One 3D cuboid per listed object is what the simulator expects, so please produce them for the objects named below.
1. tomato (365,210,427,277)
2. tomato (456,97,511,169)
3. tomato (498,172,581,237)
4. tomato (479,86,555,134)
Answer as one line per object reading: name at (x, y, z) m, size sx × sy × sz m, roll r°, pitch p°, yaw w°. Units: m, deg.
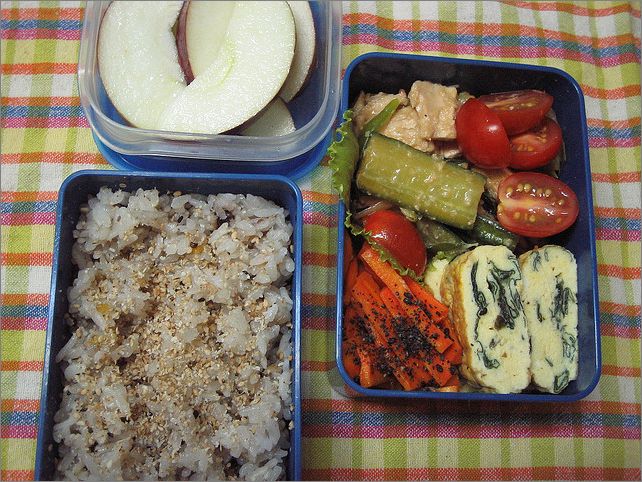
tomato at (0.307, 0.002, 2.853) m, size 0.253 × 0.198 × 0.152 m, roll 36°, pitch 34°, yaw 8°
tomato at (0.612, -0.419, 2.756) m, size 0.264 × 0.146 × 0.247 m, roll 12°, pitch 81°, yaw -29°
tomato at (0.868, -0.148, 2.841) m, size 0.301 × 0.083 × 0.258 m, roll 5°, pitch 77°, yaw -2°
tomato at (0.809, -0.538, 2.878) m, size 0.206 × 0.097 × 0.206 m, roll -15°, pitch 31°, yaw -9°
